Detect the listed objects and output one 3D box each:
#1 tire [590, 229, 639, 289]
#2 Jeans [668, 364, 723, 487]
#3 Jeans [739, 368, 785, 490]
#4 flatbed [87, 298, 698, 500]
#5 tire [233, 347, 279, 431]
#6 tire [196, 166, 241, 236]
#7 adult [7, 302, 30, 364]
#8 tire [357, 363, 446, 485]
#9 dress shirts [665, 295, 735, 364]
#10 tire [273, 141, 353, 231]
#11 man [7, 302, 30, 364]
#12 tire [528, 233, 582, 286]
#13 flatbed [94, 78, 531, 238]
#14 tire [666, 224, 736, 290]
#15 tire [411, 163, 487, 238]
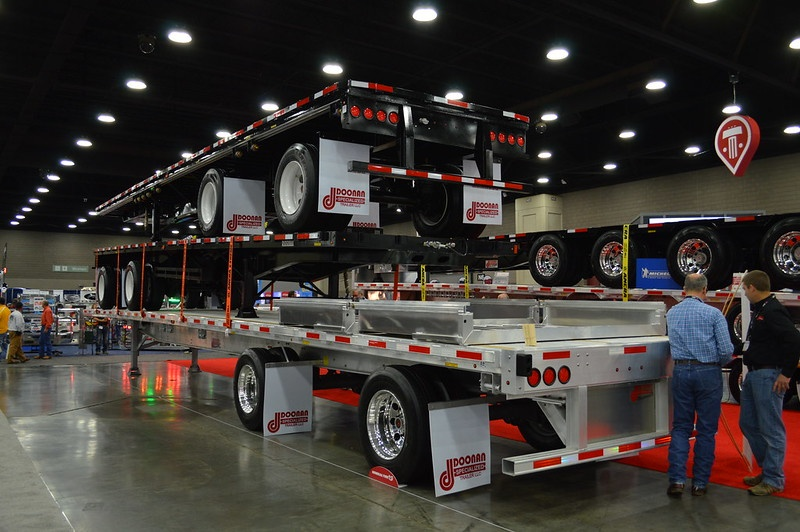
[{"bbox_3d":[4.666,-0.161,11.707,0.502,1.438,1.225,0,0,-37],"label":"tire"},{"bbox_3d":[3.245,1.711,5.973,0.580,1.283,0.459,-2,6,21],"label":"Jeans"},{"bbox_3d":[4.119,1.809,6.150,0.343,1.319,0.546,-3,6,8],"label":"Jeans"},{"bbox_3d":[-0.589,1.185,7.689,2.327,1.484,7.032,7,-5,-42],"label":"flatbed"},{"bbox_3d":[-2.076,1.812,7.950,0.403,1.250,1.150,0,-3,-35],"label":"tire"},{"bbox_3d":[-3.117,-1.119,9.451,0.354,1.093,1.019,5,8,-29],"label":"tire"},{"bbox_3d":[-11.297,1.974,15.952,0.479,1.712,1.190,-8,7,-33],"label":"adult"},{"bbox_3d":[0.059,1.788,6.096,0.471,1.430,1.266,2,-5,-39],"label":"tire"},{"bbox_3d":[3.336,0.752,6.236,0.909,0.999,0.574,-2,-4,36],"label":"dress shirts"},{"bbox_3d":[-1.322,-1.088,7.724,0.557,1.300,1.212,6,-5,-42],"label":"tire"},{"bbox_3d":[-11.290,1.975,15.942,0.479,1.712,1.166,-8,7,-33],"label":"man"},{"bbox_3d":[3.558,-0.132,13.188,1.016,1.134,0.437,-1,1,14],"label":"tire"},{"bbox_3d":[-0.654,-2.099,13.984,11.815,2.242,10.680,2,10,44],"label":"flatbed"},{"bbox_3d":[5.755,-0.167,10.278,0.440,1.246,1.111,-2,7,-34],"label":"tire"},{"bbox_3d":[0.756,-0.993,7.960,0.430,1.149,1.056,0,1,-37],"label":"tire"}]
